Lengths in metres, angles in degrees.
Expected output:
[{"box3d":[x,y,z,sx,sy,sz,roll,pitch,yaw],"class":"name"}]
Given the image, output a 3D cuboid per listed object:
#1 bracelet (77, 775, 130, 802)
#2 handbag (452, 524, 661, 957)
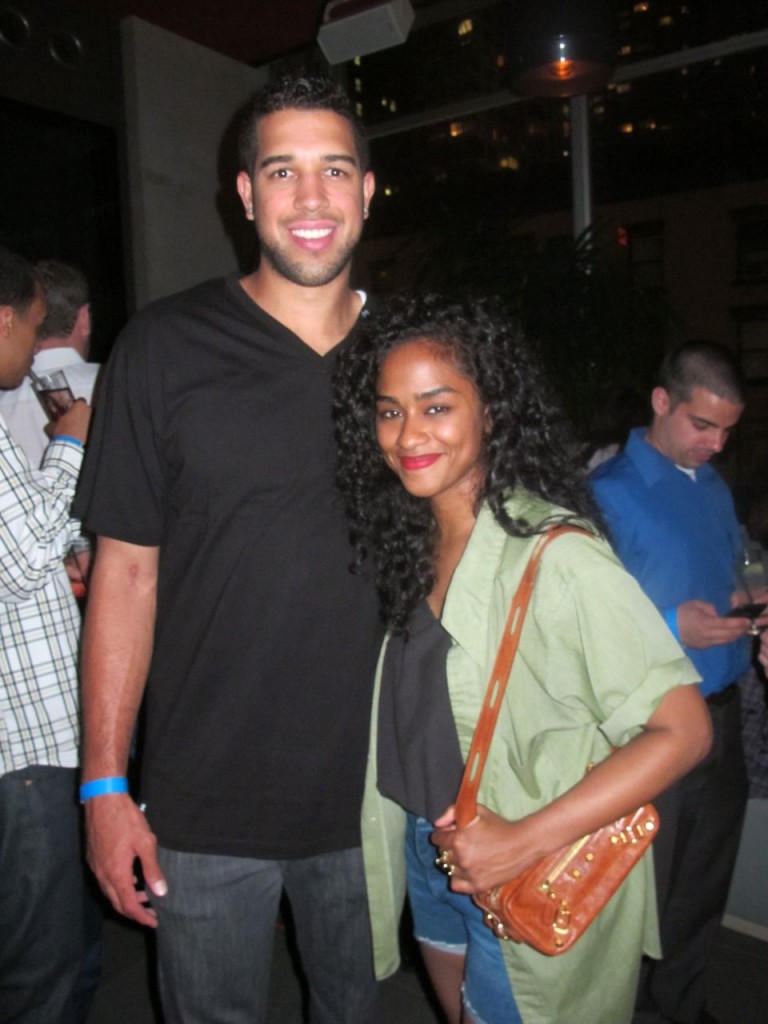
[{"box3d":[-0.454,0.437,1.457,0.068,0.039,0.070,4,-19,-18],"class":"bracelet"},{"box3d":[0.248,0.346,1.317,0.287,0.649,0.148,0,7,5],"class":"handbag"}]
